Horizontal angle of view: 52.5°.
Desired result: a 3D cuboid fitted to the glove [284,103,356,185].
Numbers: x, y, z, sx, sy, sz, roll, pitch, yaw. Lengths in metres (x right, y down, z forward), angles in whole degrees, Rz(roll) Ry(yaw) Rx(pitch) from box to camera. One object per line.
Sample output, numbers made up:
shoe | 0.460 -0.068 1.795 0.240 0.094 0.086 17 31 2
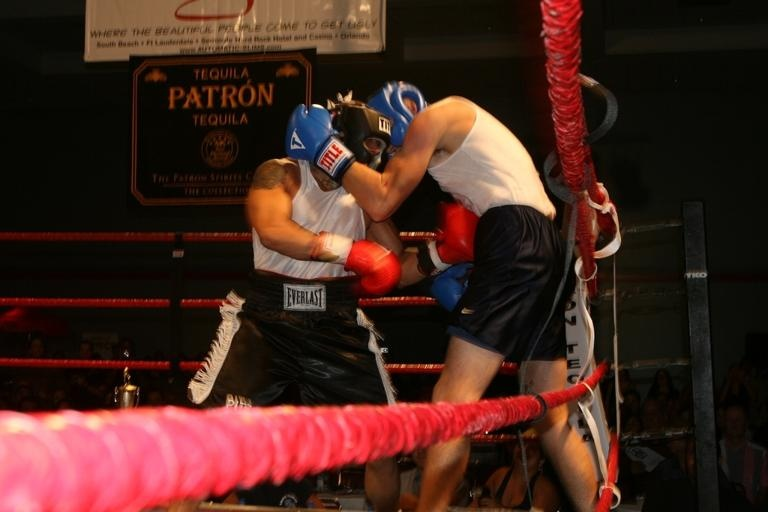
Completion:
glove | -0.450 -0.674 4.982 0.504 0.394 0.236 38 -39 -5

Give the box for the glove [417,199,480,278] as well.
glove | 0.437 -0.157 5.118 0.302 0.469 0.467 33 22 21

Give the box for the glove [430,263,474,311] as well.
glove | 0.431 0.196 5.052 0.226 0.318 0.124 34 -8 47
